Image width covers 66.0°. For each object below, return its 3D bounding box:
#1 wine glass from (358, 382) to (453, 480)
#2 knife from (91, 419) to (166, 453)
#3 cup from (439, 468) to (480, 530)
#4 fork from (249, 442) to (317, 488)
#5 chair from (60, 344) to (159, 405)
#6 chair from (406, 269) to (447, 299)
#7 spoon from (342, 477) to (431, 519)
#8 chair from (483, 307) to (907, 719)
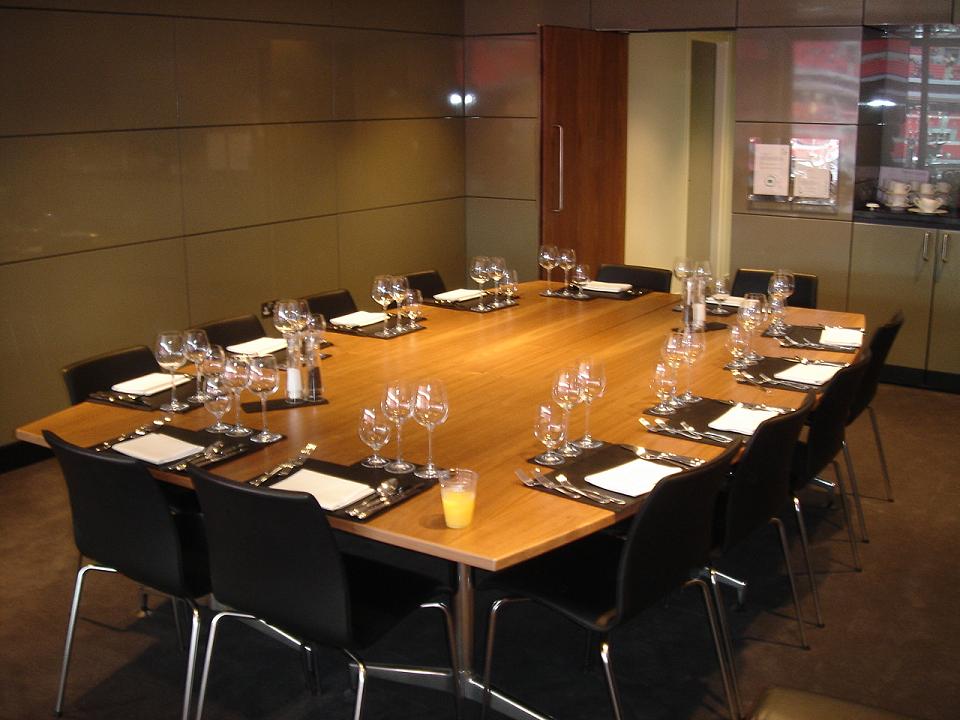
[{"bbox_3d":[-0.252,0.259,2.538,0.266,0.354,0.127,2,11,7],"label":"wine glass"},{"bbox_3d":[-1.309,0.278,2.752,0.081,0.033,0.313,15,19,20],"label":"knife"},{"bbox_3d":[-0.070,0.403,2.127,0.135,0.155,0.142,-1,-14,0],"label":"cup"},{"bbox_3d":[-0.649,0.353,2.492,0.063,0.037,0.240,11,18,15],"label":"fork"},{"bbox_3d":[-1.711,0.058,3.367,0.231,0.216,0.463,15,25,24],"label":"chair"},{"bbox_3d":[-0.371,-0.531,5.126,0.211,0.283,0.225,-7,9,-34],"label":"chair"},{"bbox_3d":[-0.288,0.423,2.261,0.101,0.029,0.187,14,24,32],"label":"spoon"},{"bbox_3d":[0.669,0.730,2.669,0.615,1.090,1.405,14,22,43],"label":"chair"}]
